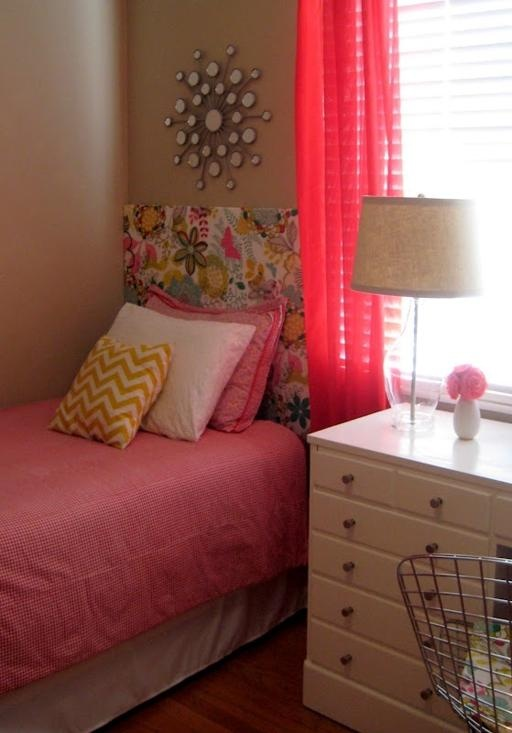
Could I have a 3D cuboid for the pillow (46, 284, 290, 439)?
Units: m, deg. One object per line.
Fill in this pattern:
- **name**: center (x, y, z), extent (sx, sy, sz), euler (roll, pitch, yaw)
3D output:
- **pillow**: center (-0.114, 0.013, 2.109), extent (0.566, 0.567, 0.179), euler (11, -19, 30)
